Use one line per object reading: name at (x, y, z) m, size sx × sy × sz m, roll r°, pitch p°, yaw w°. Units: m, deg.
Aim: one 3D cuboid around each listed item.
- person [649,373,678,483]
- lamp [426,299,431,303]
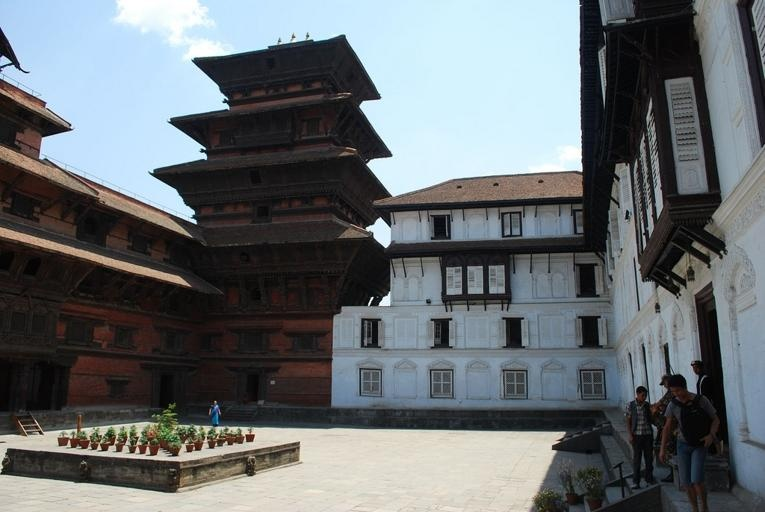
person at (6.801, 4.011, 14.487) m, size 0.730 × 2.283 × 0.683 m, roll 3°, pitch 21°, yaw 20°
lamp at (2.850, 2.777, 36.846) m, size 0.377 × 0.318 × 0.182 m, roll -2°, pitch -14°, yaw 6°
